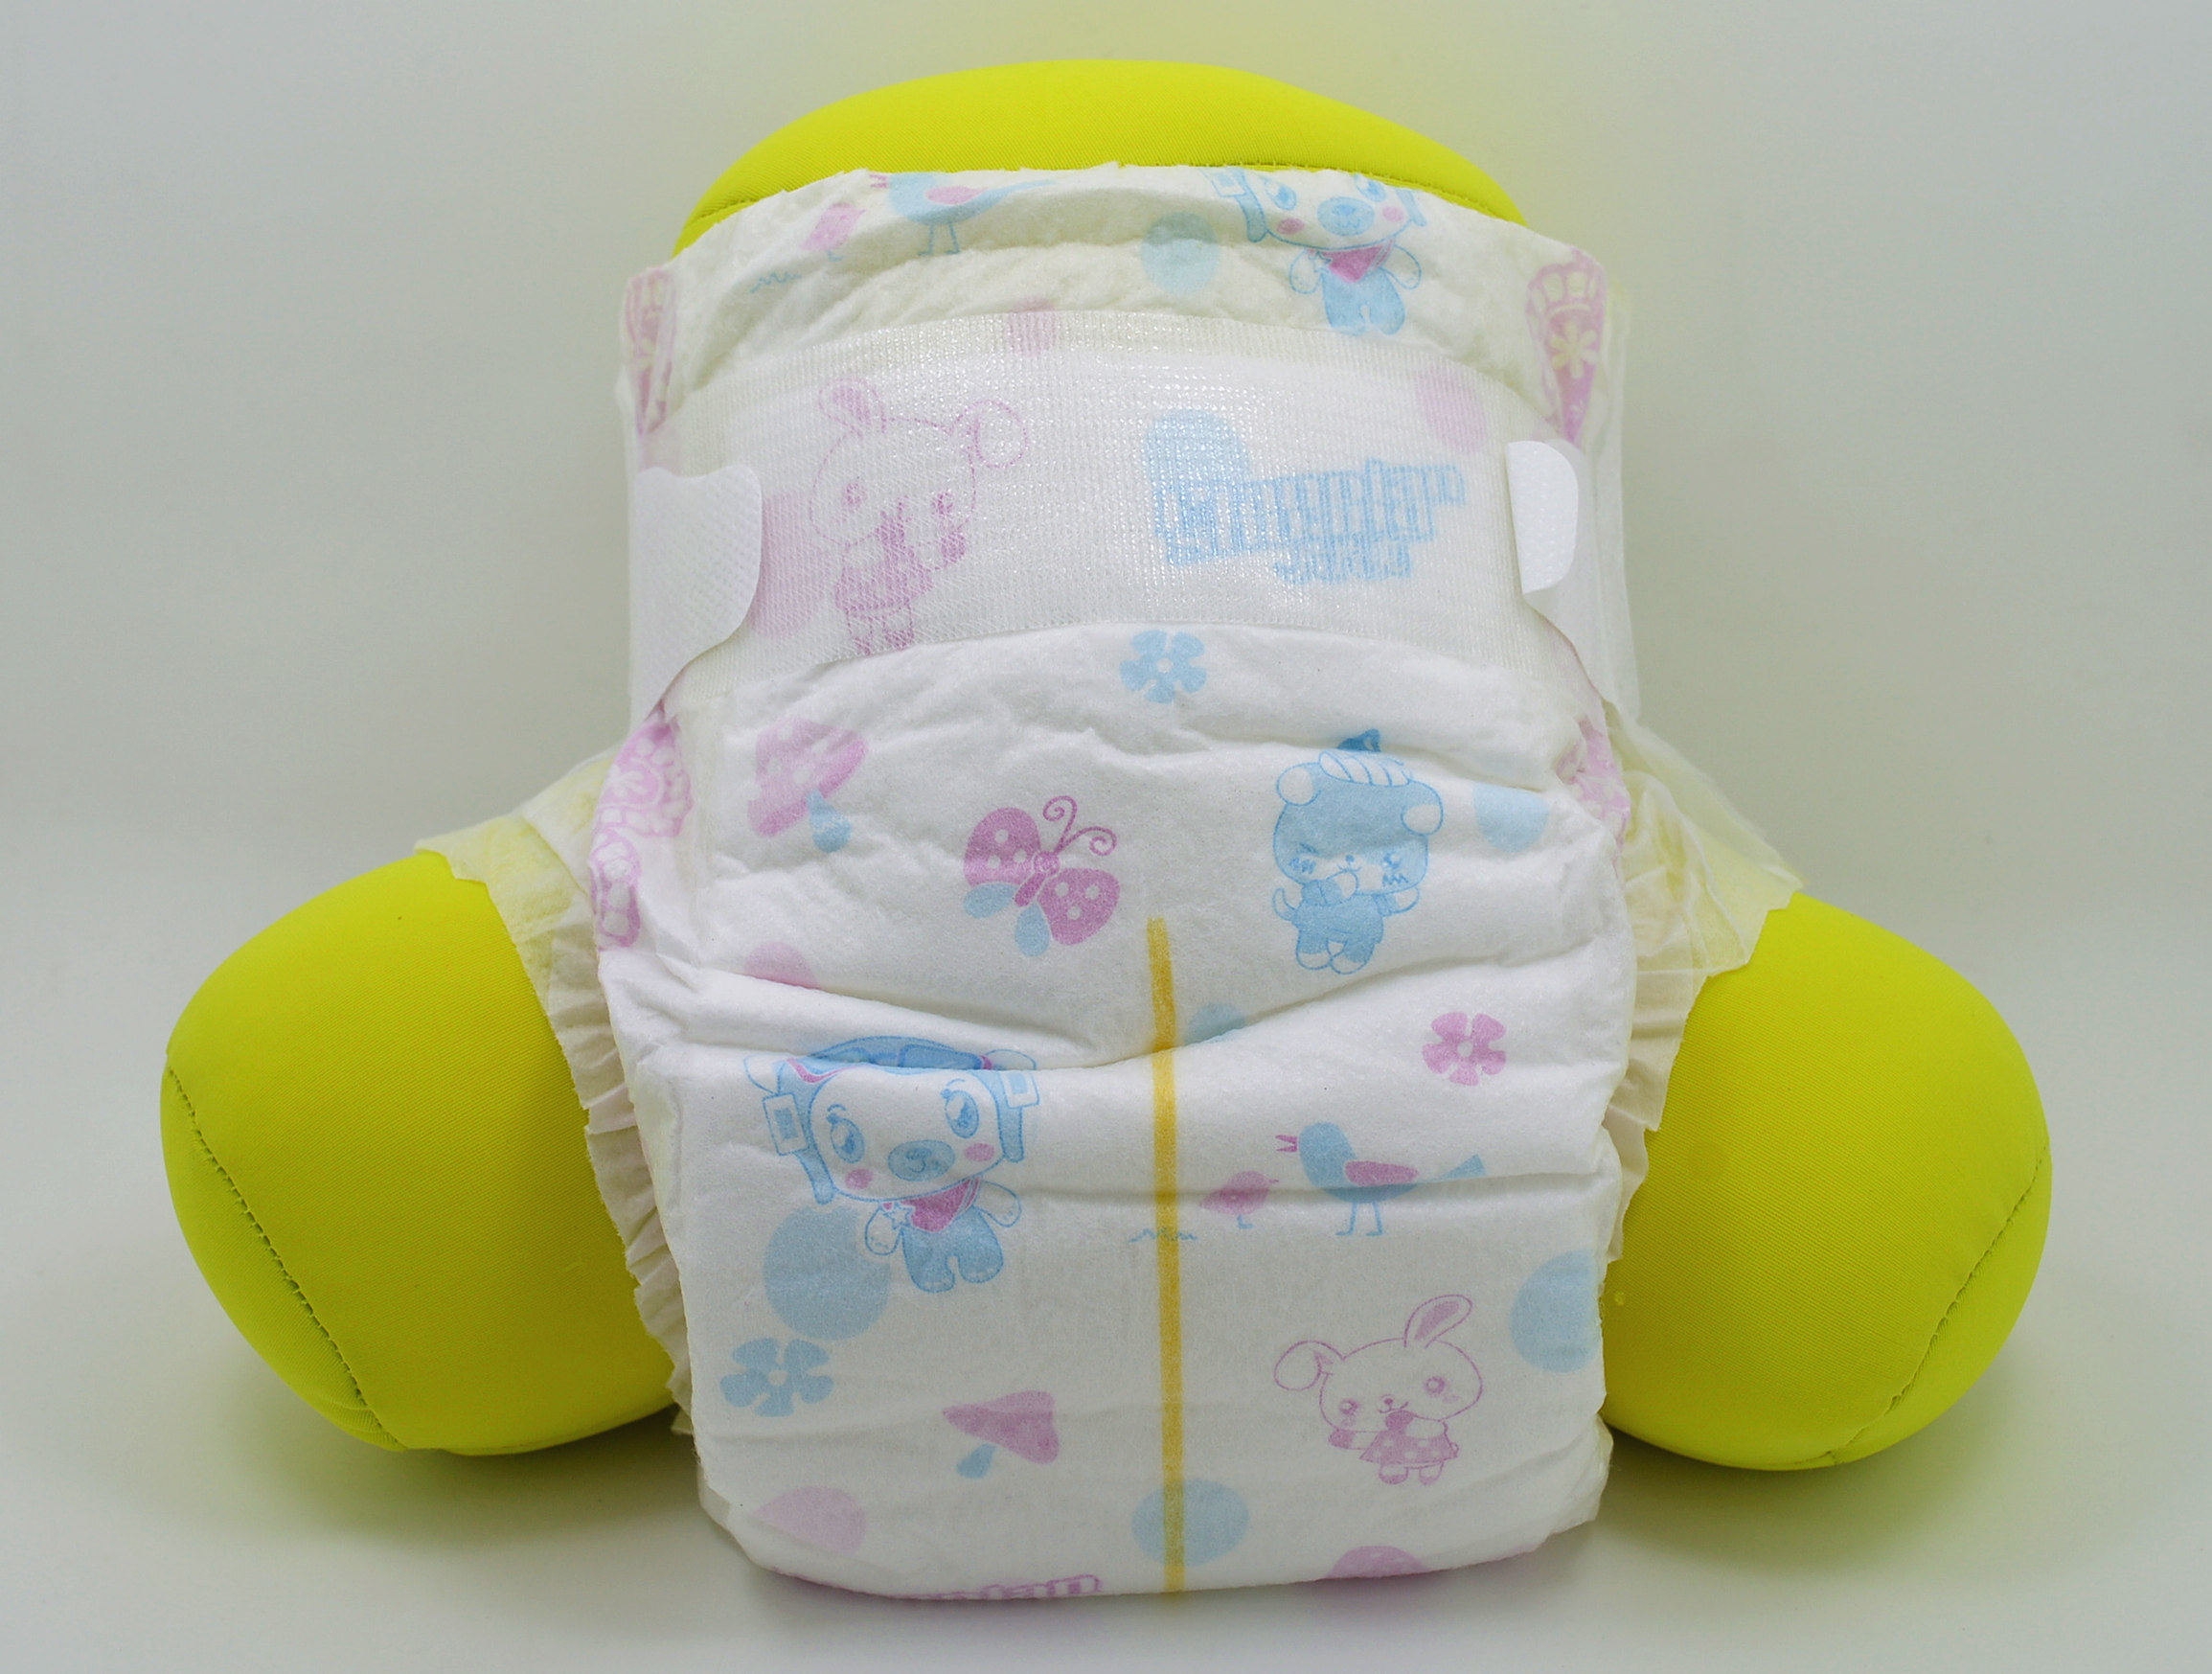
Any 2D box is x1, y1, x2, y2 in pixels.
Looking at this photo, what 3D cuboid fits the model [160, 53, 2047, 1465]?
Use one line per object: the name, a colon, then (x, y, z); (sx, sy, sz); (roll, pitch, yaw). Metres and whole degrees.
model: (-0.178, -0.218, 1.925); (1.229, 1.138, 0.396); (1, -16, -1)
